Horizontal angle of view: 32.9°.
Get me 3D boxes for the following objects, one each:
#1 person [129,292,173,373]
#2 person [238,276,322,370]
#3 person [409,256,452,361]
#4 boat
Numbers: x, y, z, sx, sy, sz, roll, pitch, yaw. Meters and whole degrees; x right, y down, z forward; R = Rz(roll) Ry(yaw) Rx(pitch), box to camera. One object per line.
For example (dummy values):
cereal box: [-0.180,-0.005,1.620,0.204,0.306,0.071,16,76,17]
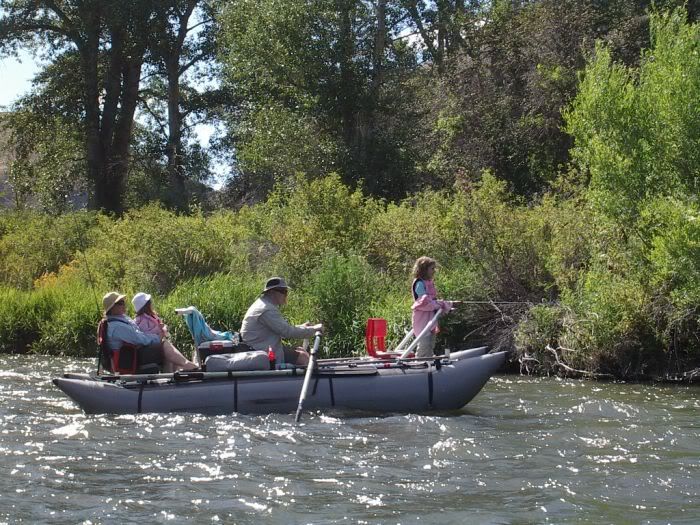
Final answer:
person: [-3.725,1.439,22.980,0.797,1.627,0.634,-7,7,-16]
person: [-1.321,1.513,23.097,1.540,2.313,0.943,1,1,-18]
person: [1.640,1.106,23.446,0.789,2.413,0.952,1,8,16]
boat: [-0.958,2.752,23.580,8.907,1.570,3.132,-1,-5,-12]
